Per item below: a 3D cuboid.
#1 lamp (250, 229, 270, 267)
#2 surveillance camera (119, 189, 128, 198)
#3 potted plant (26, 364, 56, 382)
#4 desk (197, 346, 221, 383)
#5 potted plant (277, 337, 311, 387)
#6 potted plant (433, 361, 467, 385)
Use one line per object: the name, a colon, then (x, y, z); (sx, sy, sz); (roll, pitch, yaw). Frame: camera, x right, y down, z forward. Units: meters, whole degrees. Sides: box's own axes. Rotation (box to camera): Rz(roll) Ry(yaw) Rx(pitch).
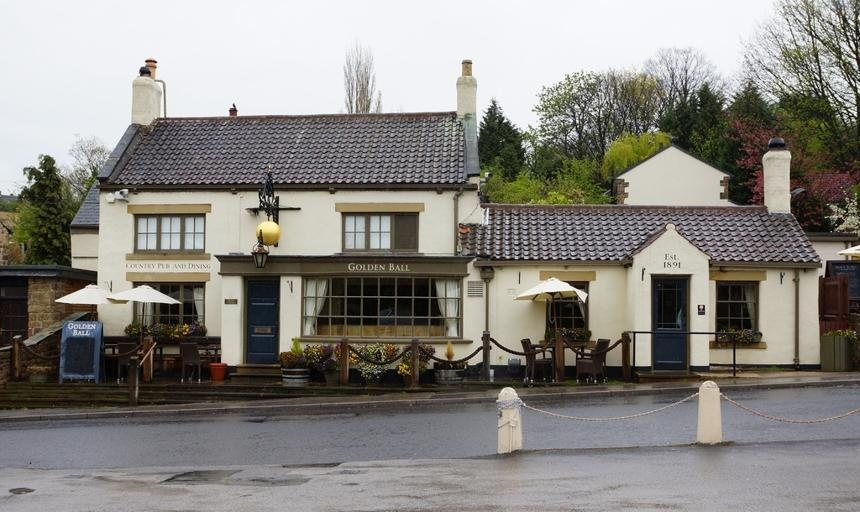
lamp: (-7.719, -0.313, 64.124); (0.759, 1.726, 0.901); (0, -7, -7)
surveillance camera: (-14.164, -2.849, 65.418); (0.328, 0.369, 0.387); (22, 3, -2)
potted plant: (-17.682, 5.386, 64.318); (1.221, 0.725, 0.796); (3, -5, -35)
desk: (-10.531, 4.996, 65.080); (1.768, 1.615, 1.311); (-1, -6, 2)
potted plant: (-6.077, 4.802, 63.550); (1.319, 2.180, 0.878); (0, -7, -7)
potted plant: (0.885, 5.282, 63.675); (1.392, 1.010, 0.816); (-1, -7, -3)
